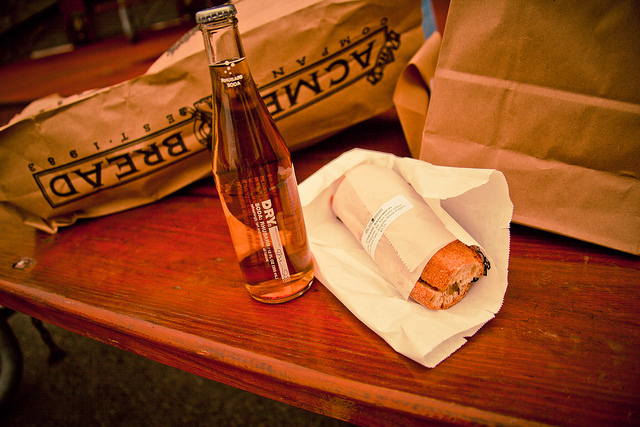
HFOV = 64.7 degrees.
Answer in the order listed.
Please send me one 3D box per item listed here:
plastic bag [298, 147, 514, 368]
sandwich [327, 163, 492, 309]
[{"bbox_3d":[0.122,0.029,0.810,0.287,0.134,0.380,-31,49,-9],"label":"plastic bag"},{"bbox_3d":[0.149,0.038,0.882,0.253,0.103,0.155,43,105,28],"label":"sandwich"}]
